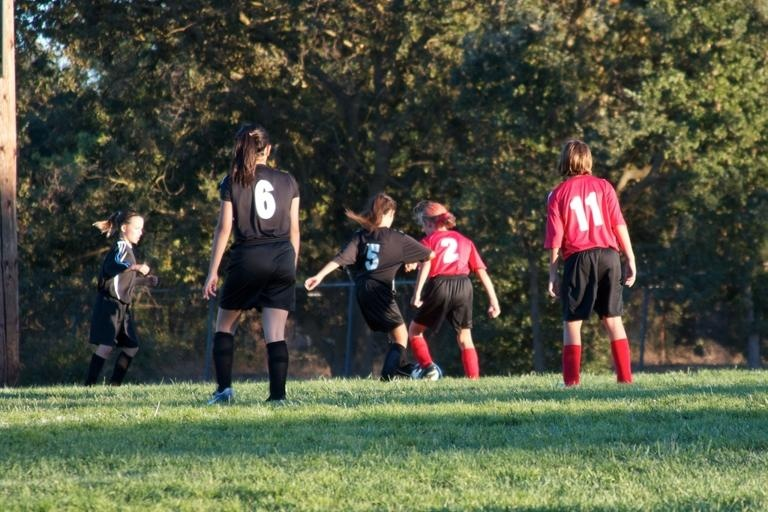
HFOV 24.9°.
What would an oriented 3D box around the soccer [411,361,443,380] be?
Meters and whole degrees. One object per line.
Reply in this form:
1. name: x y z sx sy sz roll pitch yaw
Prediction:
1. soccer: 0.875 2.254 34.078 0.655 0.301 0.248 2 -3 41
